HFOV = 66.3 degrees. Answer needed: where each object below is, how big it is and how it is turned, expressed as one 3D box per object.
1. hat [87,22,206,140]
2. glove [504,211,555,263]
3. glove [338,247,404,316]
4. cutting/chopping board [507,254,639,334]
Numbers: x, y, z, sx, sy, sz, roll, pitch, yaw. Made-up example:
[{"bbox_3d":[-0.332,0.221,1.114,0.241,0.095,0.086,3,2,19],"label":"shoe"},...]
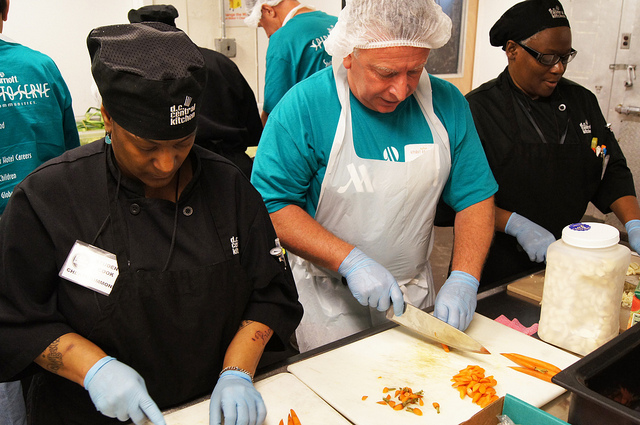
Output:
[{"bbox_3d":[-0.557,-0.383,1.572,0.285,0.217,0.396,-24,69,-30],"label":"hat"},{"bbox_3d":[1.018,0.112,2.441,0.173,0.080,0.285,-44,28,0],"label":"glove"},{"bbox_3d":[0.206,0.281,1.952,0.159,0.092,0.278,-38,64,-12],"label":"glove"},{"bbox_3d":[0.987,0.328,2.062,0.354,0.014,0.316,-17,24,-36],"label":"cutting/chopping board"}]
